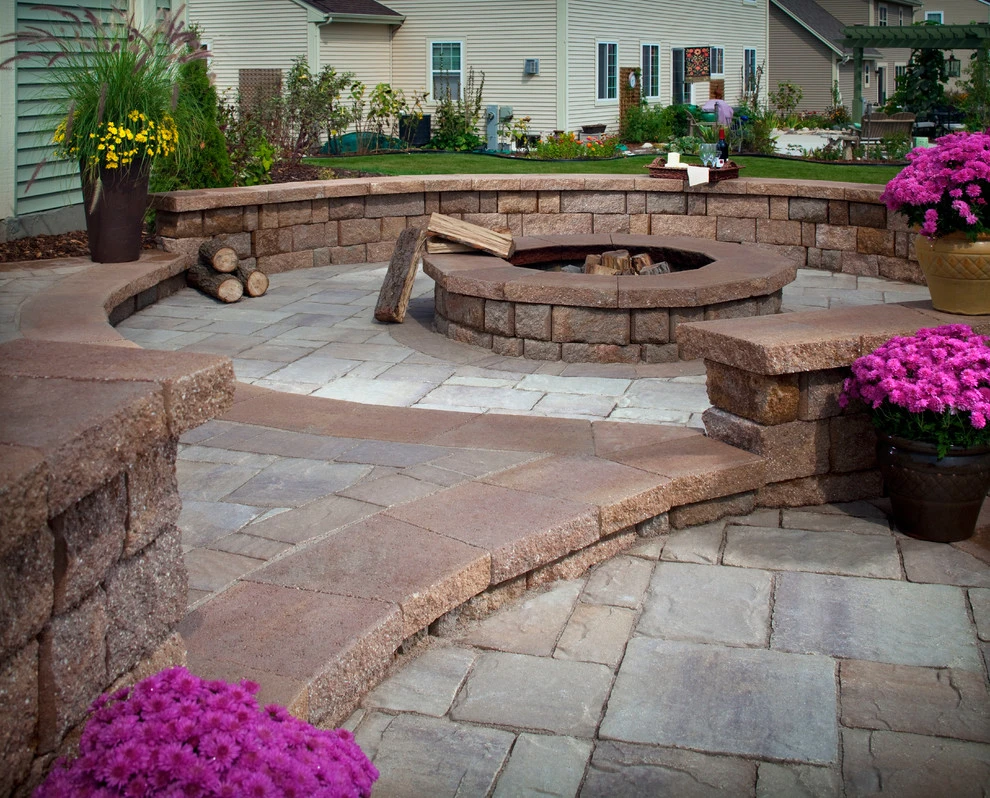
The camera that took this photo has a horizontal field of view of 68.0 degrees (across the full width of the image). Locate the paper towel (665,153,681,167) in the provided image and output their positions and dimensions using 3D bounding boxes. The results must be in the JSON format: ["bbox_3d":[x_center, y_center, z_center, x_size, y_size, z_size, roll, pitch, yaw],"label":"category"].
[{"bbox_3d":[2.562,-3.440,10.600,0.190,0.232,0.321,2,16,11],"label":"paper towel"}]

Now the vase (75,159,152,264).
[{"bbox_3d":[-4.201,-2.085,8.221,0.748,1.108,0.413,-10,20,-24],"label":"vase"}]

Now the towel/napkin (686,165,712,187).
[{"bbox_3d":[2.840,-3.095,10.230,0.374,0.279,0.090,0,-10,15],"label":"towel/napkin"}]
